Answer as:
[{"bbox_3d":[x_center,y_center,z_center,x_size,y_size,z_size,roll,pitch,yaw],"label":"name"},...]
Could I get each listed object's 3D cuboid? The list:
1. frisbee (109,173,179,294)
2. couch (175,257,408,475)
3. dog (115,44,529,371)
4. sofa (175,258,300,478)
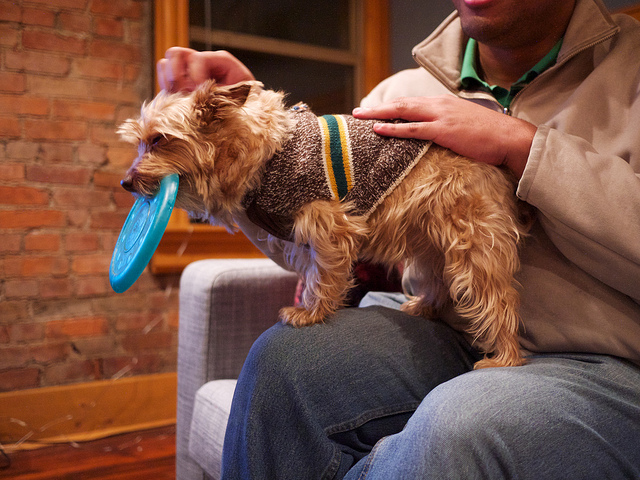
[{"bbox_3d":[-0.473,-0.015,1.559,0.059,0.303,0.298,19,18,-13],"label":"frisbee"},{"bbox_3d":[-0.188,0.391,2.238,0.731,0.791,0.723,10,-13,-35],"label":"couch"},{"bbox_3d":[0.052,-0.105,1.736,1.069,0.716,0.497,2,6,3],"label":"dog"},{"bbox_3d":[-0.264,0.501,1.993,0.360,0.778,0.391,-7,14,-32],"label":"sofa"}]
